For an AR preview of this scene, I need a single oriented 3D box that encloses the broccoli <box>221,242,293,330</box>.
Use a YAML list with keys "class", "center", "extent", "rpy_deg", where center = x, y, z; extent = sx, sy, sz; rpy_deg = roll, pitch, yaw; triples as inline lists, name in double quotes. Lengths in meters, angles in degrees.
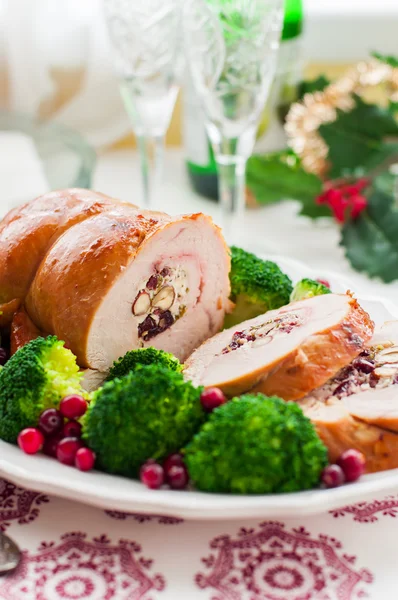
- class: "broccoli"
  center: [0.119, -0.028, 1.211]
  extent: [0.140, 0.058, 0.160]
  rpy_deg: [-16, 45, -13]
